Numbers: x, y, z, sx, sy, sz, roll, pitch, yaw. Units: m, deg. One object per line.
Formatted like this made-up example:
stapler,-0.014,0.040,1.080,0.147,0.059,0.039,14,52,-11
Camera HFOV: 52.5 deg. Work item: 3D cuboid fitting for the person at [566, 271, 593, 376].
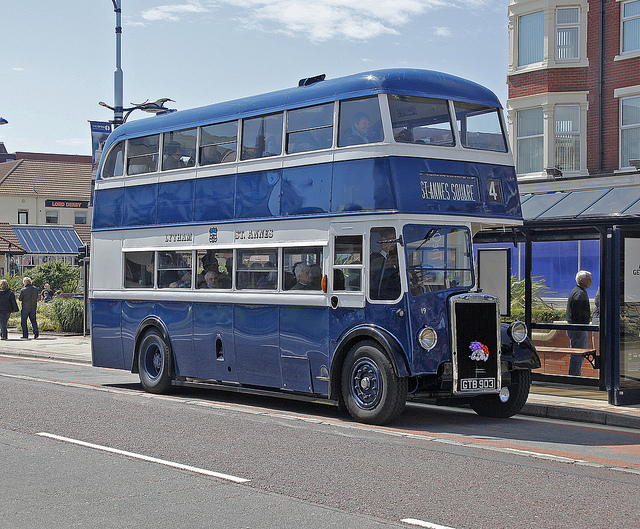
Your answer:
person,5.129,1.172,12.877,0.467,2.054,0.438,-1,-3,23

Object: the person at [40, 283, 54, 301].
person,-17.304,1.779,41.281,0.757,1.441,0.456,-5,-12,-10

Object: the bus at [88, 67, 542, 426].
bus,-0.672,-0.522,12.691,3.284,5.105,9.073,-6,5,-42
